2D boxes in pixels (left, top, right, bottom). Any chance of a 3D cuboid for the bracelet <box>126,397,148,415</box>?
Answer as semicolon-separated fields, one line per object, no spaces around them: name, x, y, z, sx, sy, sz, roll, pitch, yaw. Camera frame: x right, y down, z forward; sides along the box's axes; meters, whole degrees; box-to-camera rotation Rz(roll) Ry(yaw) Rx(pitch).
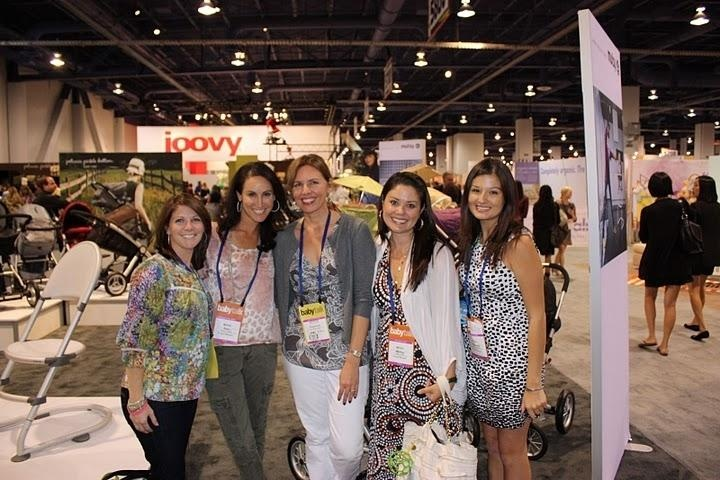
bracelet;-1.430;1.085;3.313;0.092;0.081;0.116;-17;25;22

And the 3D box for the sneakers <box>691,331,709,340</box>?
sneakers;4.628;1.311;6.952;0.112;0.095;0.228;-10;3;-17

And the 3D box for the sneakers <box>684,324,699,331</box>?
sneakers;4.786;1.267;7.346;0.060;0.080;0.188;-5;9;-11

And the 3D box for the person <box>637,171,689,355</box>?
person;3.886;0.281;6.529;0.527;2.379;0.547;-1;1;-38

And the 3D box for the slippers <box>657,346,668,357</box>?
slippers;3.848;1.428;6.479;0.067;0.059;0.154;-2;3;4

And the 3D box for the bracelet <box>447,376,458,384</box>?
bracelet;0.619;0.938;3.368;0.037;0.030;0.055;-2;2;5

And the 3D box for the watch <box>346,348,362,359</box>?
watch;-0.035;0.775;3.447;0.088;0.062;0.087;23;-16;-28
